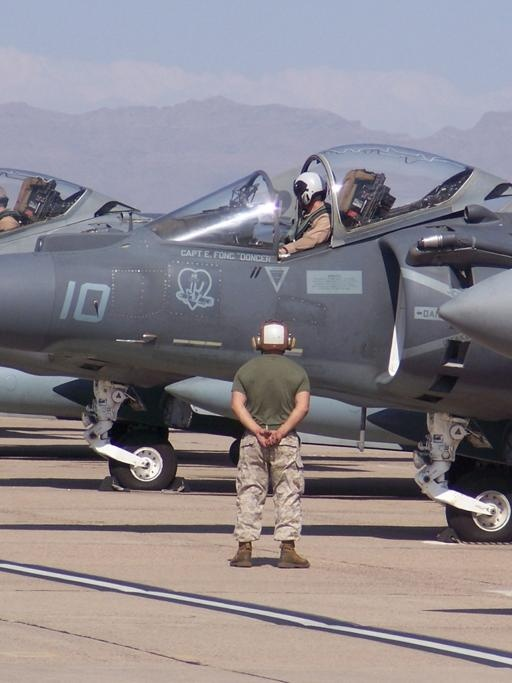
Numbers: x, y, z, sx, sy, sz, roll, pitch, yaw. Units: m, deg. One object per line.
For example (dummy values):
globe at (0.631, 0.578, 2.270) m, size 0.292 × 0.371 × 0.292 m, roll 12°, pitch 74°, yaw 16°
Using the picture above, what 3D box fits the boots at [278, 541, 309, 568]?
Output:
boots at (0.263, 1.540, 5.710) m, size 0.179 × 0.189 × 0.224 m, roll -8°, pitch -23°, yaw 26°

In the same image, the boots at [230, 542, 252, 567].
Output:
boots at (-0.114, 1.518, 5.655) m, size 0.159 × 0.177 × 0.124 m, roll -2°, pitch -23°, yaw 13°

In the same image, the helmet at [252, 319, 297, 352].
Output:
helmet at (0.127, -0.053, 5.886) m, size 0.311 × 0.203 × 0.249 m, roll 1°, pitch 12°, yaw 1°

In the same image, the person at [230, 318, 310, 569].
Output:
person at (0.079, 0.729, 5.787) m, size 0.545 × 1.781 × 0.532 m, roll 3°, pitch -24°, yaw 3°
